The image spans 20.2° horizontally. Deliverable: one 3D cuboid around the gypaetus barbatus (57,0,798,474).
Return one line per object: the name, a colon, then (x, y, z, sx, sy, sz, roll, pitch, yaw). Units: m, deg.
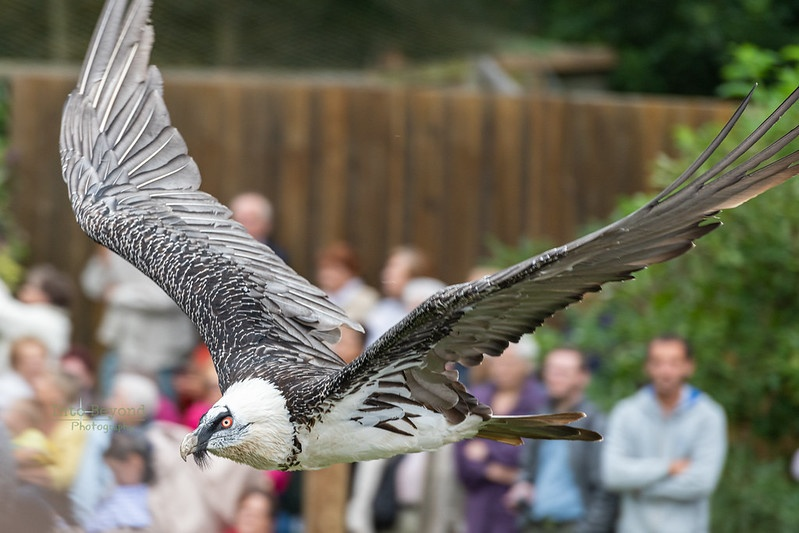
gypaetus barbatus: (-0.012, 0.074, 15.097, 3.277, 5.913, 2.388, -11, 104, -47)
